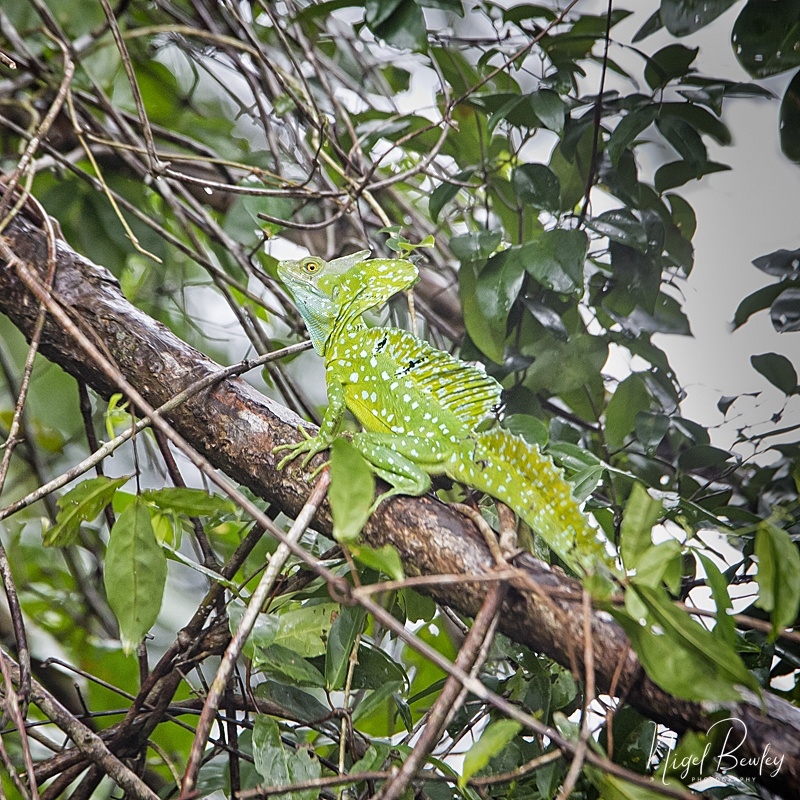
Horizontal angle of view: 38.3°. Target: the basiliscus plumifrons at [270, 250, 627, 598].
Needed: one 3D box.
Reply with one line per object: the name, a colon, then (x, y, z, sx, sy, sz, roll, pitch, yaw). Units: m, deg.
basiliscus plumifrons: (0.068, 0.024, 2.238, 0.835, 0.376, 0.412, 18, -78, 41)
